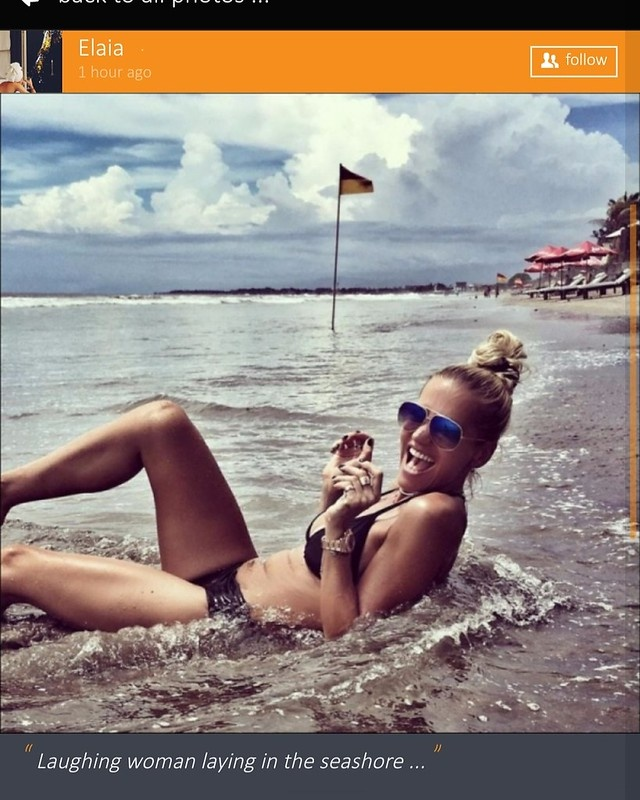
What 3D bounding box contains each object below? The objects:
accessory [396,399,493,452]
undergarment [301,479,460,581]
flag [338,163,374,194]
[{"bbox_3d":[0.457,0.081,3.222,0.247,0.076,0.247,22,1,37],"label":"accessory"},{"bbox_3d":[0.275,0.519,3.265,0.604,0.373,0.316,8,8,3],"label":"undergarment"},{"bbox_3d":[0.266,-1.640,6.026,0.298,0.245,0.035,-1,36,0],"label":"flag"}]
